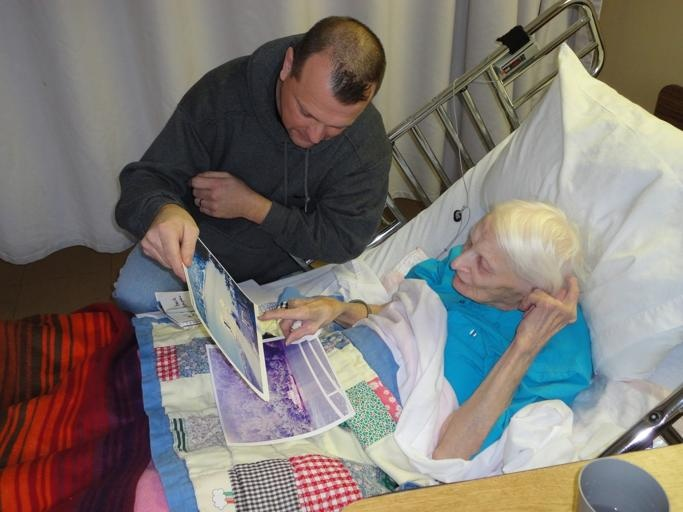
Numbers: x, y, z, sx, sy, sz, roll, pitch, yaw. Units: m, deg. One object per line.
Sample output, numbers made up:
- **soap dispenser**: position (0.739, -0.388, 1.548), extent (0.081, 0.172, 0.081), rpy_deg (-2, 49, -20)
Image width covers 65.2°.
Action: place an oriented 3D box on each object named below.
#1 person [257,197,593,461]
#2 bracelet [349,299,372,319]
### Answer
- **person**: position (0.230, 0.239, 1.870), extent (1.226, 0.589, 0.945), rpy_deg (-9, 35, 13)
- **bracelet**: position (0.067, 0.195, 1.939), extent (0.055, 0.016, 0.060), rpy_deg (33, 30, -21)
